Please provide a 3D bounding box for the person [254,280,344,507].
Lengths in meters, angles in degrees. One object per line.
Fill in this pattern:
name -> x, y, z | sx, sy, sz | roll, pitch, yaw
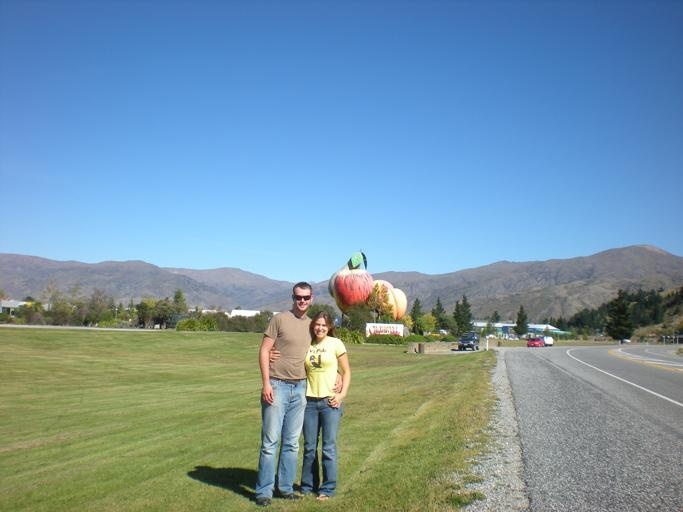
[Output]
person -> -0.788, 1.881, 6.029 | 0.754, 2.991, 0.509 | 2, -9, -13

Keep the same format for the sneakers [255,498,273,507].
sneakers -> -1.040, 3.292, 5.689 | 0.158, 0.077, 0.092 | 1, 7, 19

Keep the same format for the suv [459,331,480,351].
suv -> 14.718, 9.999, 49.212 | 1.603, 1.890, 3.340 | -6, -18, 25

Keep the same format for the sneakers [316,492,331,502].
sneakers -> -0.256, 3.327, 5.830 | 0.061, 0.085, 0.160 | 35, 5, 35
